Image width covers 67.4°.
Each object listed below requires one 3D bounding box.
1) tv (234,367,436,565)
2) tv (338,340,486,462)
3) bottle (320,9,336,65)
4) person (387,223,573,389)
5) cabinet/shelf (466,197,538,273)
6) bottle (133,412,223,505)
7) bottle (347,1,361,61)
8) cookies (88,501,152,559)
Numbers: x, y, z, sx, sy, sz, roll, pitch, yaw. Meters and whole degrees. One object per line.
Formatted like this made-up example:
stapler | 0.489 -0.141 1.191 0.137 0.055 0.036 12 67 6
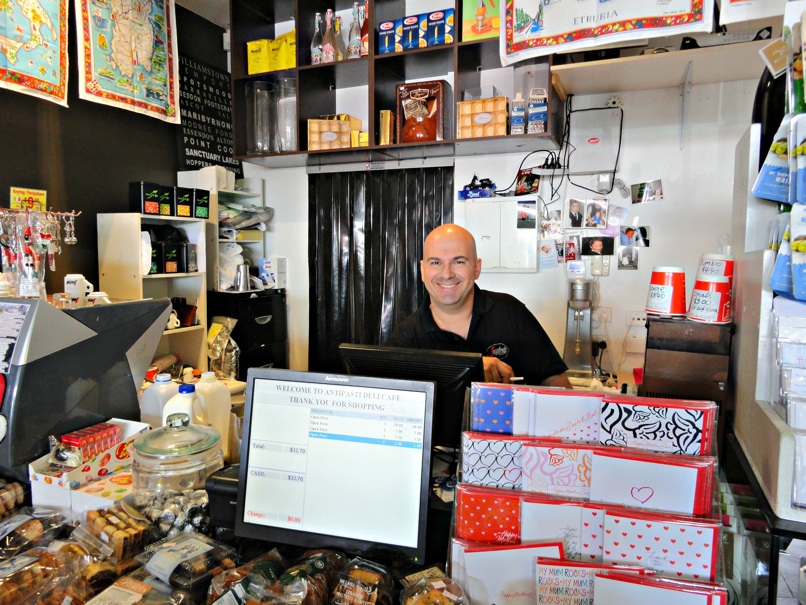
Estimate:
tv | -0.170 0.426 1.534 0.451 0.427 0.039 4 -5 13
tv | 0.086 0.216 1.906 0.498 0.499 0.285 1 33 15
bottle | -0.449 -1.597 3.655 0.089 0.329 0.253 -1 8 -7
person | 0.427 0.000 2.829 0.809 0.718 0.505 -2 2 25
cabinet/shelf | 0.580 -0.383 3.429 0.447 0.460 0.162 0 -1 14
bottle | -0.633 0.446 1.794 0.230 0.249 0.238 2 -6 -8
bottle | -0.289 -1.642 3.626 0.090 0.370 0.192 -1 7 -6
cookies | -0.763 0.614 1.628 0.180 0.083 0.119 5 10 35
